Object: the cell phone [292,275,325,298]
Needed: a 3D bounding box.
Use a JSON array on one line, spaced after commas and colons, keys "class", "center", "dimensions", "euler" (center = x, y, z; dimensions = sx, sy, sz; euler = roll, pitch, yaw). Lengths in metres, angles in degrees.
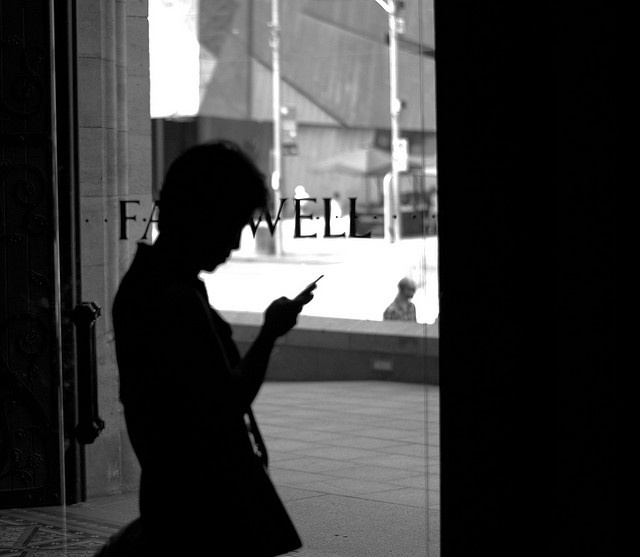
[{"class": "cell phone", "center": [-0.054, 0.053, 4.248], "dimensions": [0.173, 0.048, 0.018], "euler": [-44, -20, 13]}]
